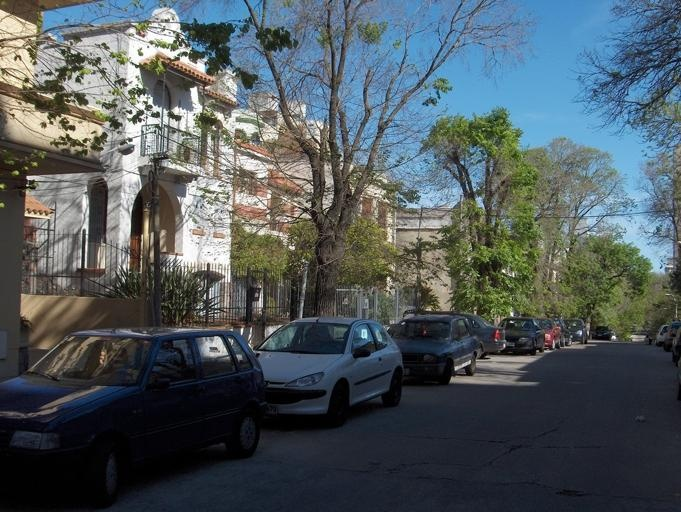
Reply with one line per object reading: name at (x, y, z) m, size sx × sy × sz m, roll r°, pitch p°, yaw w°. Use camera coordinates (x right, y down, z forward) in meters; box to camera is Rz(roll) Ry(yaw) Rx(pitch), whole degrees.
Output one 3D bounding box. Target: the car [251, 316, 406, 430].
car at (-0.288, 2.141, 11.279) m, size 1.601 × 1.307 × 2.610 m, roll -3°, pitch -8°, yaw 25°
